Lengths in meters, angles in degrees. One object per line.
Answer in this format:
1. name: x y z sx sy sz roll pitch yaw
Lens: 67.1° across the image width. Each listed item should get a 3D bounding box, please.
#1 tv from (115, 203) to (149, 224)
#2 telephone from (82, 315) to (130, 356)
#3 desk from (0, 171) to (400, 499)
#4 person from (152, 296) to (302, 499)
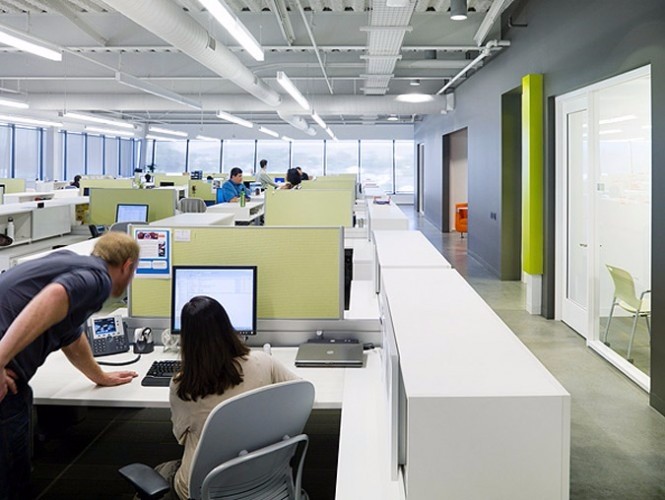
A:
1. tv: -2.780 -0.511 6.945 0.386 0.288 0.289 0 3 -6
2. telephone: -1.404 0.531 3.188 0.281 0.275 0.086 -4 10 15
3. desk: -0.832 0.518 3.081 2.165 1.396 2.234 0 7 0
4. person: -0.527 0.716 2.327 0.657 0.995 0.295 -3 10 -10
